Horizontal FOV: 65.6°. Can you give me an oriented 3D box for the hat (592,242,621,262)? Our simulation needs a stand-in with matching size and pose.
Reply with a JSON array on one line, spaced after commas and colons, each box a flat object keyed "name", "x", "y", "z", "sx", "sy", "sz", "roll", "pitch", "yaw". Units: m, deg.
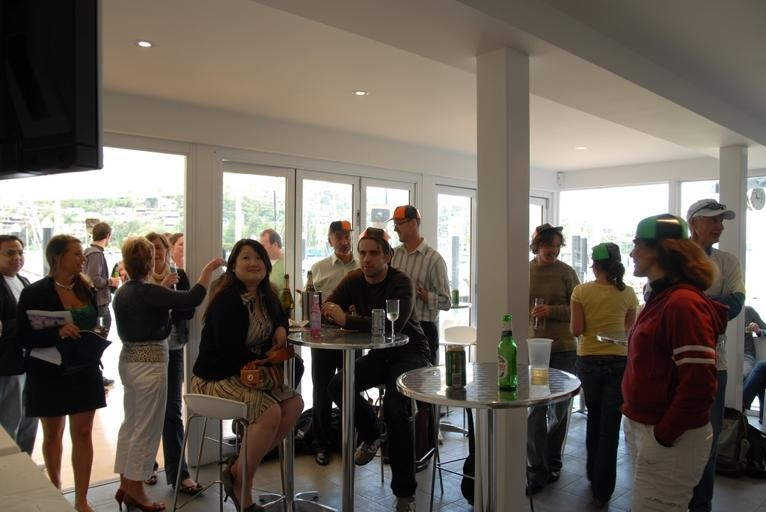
[{"name": "hat", "x": 1.697, "y": -0.025, "z": 4.508, "sx": 0.127, "sy": 0.106, "sz": 0.181, "roll": -5, "pitch": 7, "yaw": -32}]

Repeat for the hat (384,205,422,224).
[{"name": "hat", "x": 0.214, "y": -0.367, "z": 5.383, "sx": 0.272, "sy": 0.135, "sz": 0.164, "roll": 2, "pitch": 1, "yaw": -1}]

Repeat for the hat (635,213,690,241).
[{"name": "hat", "x": 1.537, "y": -0.152, "z": 3.264, "sx": 0.214, "sy": 0.118, "sz": 0.165, "roll": 0, "pitch": 5, "yaw": 23}]

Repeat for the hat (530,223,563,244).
[{"name": "hat", "x": 1.343, "y": -0.195, "z": 5.068, "sx": 0.227, "sy": 0.105, "sz": 0.327, "roll": -6, "pitch": -5, "yaw": -23}]

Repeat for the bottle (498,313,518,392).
[{"name": "bottle", "x": 0.668, "y": 0.505, "z": 3.145, "sx": 0.110, "sy": 0.381, "sz": 0.213, "roll": 3, "pitch": 2, "yaw": 12}]

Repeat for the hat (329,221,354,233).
[{"name": "hat", "x": -0.390, "y": -0.260, "z": 5.425, "sx": 0.152, "sy": 0.105, "sz": 0.237, "roll": -2, "pitch": 1, "yaw": -20}]

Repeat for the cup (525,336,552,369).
[{"name": "cup", "x": 0.933, "y": 0.556, "z": 3.456, "sx": 0.157, "sy": 0.120, "sz": 0.147, "roll": -2, "pitch": -1, "yaw": 0}]

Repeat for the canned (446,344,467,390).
[{"name": "canned", "x": 0.388, "y": 0.580, "z": 3.153, "sx": 0.109, "sy": 0.217, "sz": 0.120, "roll": 2, "pitch": 2, "yaw": 5}]

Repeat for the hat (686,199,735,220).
[{"name": "hat", "x": 2.416, "y": -0.347, "z": 4.388, "sx": 0.184, "sy": 0.140, "sz": 0.280, "roll": 7, "pitch": -12, "yaw": -36}]

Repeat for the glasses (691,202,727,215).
[{"name": "glasses", "x": 2.370, "y": -0.341, "z": 4.352, "sx": 0.149, "sy": 0.039, "sz": 0.145, "roll": 3, "pitch": -11, "yaw": -35}]

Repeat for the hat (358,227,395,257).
[{"name": "hat", "x": -0.032, "y": -0.099, "z": 4.429, "sx": 0.281, "sy": 0.200, "sz": 0.197, "roll": 3, "pitch": -2, "yaw": -28}]

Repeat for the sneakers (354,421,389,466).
[{"name": "sneakers", "x": -0.071, "y": 1.463, "z": 4.582, "sx": 0.167, "sy": 0.186, "sz": 0.494, "roll": 1, "pitch": -5, "yaw": 26}]

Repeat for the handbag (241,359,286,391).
[{"name": "handbag", "x": -0.772, "y": 0.763, "z": 3.824, "sx": 0.181, "sy": 0.099, "sz": 0.243, "roll": 10, "pitch": 5, "yaw": 41}]
